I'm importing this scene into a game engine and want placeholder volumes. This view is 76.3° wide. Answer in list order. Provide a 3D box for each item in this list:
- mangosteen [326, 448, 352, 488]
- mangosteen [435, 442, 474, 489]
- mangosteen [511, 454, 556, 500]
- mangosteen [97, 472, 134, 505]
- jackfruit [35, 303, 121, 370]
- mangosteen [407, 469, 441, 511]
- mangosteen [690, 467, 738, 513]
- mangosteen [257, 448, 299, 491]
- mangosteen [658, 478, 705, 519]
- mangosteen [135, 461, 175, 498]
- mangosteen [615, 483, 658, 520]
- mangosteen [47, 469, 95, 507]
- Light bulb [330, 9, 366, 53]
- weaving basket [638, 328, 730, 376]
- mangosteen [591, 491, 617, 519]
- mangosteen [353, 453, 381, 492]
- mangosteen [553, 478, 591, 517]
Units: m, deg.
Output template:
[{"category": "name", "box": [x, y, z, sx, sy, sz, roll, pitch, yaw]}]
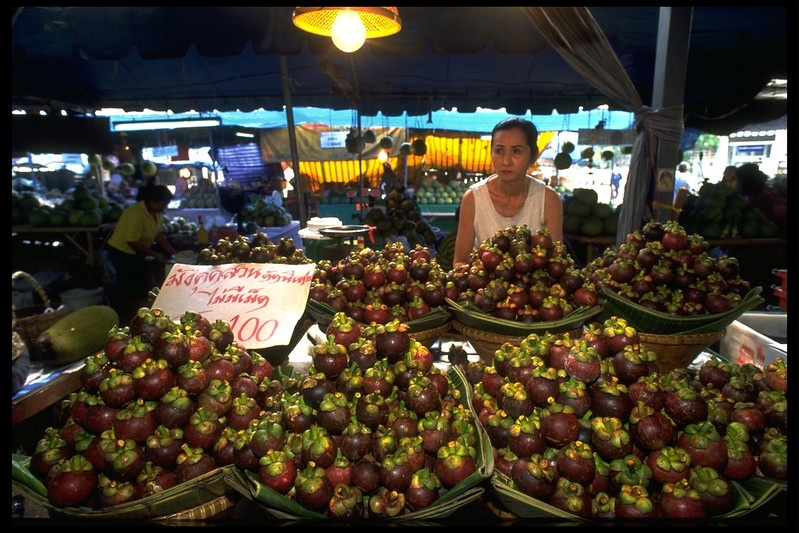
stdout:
[{"category": "mangosteen", "box": [-0.237, 0.807, 2.013, 0.104, 0.127, 0.100, -1, -8, 5]}, {"category": "mangosteen", "box": [0.213, 0.768, 2.038, 0.168, 0.177, 0.159, -7, -6, -1]}, {"category": "mangosteen", "box": [0.533, 0.840, 2.018, 0.126, 0.118, 0.121, -12, 32, -33]}, {"category": "mangosteen", "box": [-1.153, 0.913, 2.067, 0.118, 0.122, 0.115, -2, 10, -37]}, {"category": "jackfruit", "box": [-2.123, 0.468, 3.337, 0.252, 0.213, 0.531, -22, 13, 2]}, {"category": "mangosteen", "box": [0.095, 0.861, 2.018, 0.147, 0.156, 0.143, 0, -5, 12]}, {"category": "mangosteen", "box": [1.220, 0.874, 1.984, 0.132, 0.143, 0.127, -20, 1, -14]}, {"category": "mangosteen", "box": [-0.477, 0.809, 2.008, 0.141, 0.159, 0.076, -9, 17, -18]}, {"category": "mangosteen", "box": [1.089, 0.890, 2.016, 0.147, 0.162, 0.145, 0, -6, -41]}, {"category": "mangosteen", "box": [-0.996, 0.870, 2.077, 0.163, 0.108, 0.084, -2, 16, 3]}, {"category": "mangosteen", "box": [0.909, 0.902, 2.015, 0.134, 0.132, 0.137, -4, -4, -24]}, {"category": "mangosteen", "box": [-1.312, 0.885, 2.079, 0.123, 0.123, 0.167, -8, -11, 36]}, {"category": "Light bulb", "box": [-0.386, -1.818, 4.002, 0.290, 0.368, 0.277, 1, 9, 2]}, {"category": "weaving basket", "box": [1.516, 0.446, 2.767, 0.357, 0.119, 0.343, -2, -1, 2]}, {"category": "mangosteen", "box": [0.819, 0.942, 2.039, 0.088, 0.084, 0.085, -3, 31, 16]}, {"category": "mangosteen", "box": [-0.126, 0.819, 1.998, 0.115, 0.122, 0.114, 6, -23, -16]}, {"category": "mangosteen", "box": [0.678, 0.907, 2.000, 0.116, 0.126, 0.111, -16, 12, -16]}]
